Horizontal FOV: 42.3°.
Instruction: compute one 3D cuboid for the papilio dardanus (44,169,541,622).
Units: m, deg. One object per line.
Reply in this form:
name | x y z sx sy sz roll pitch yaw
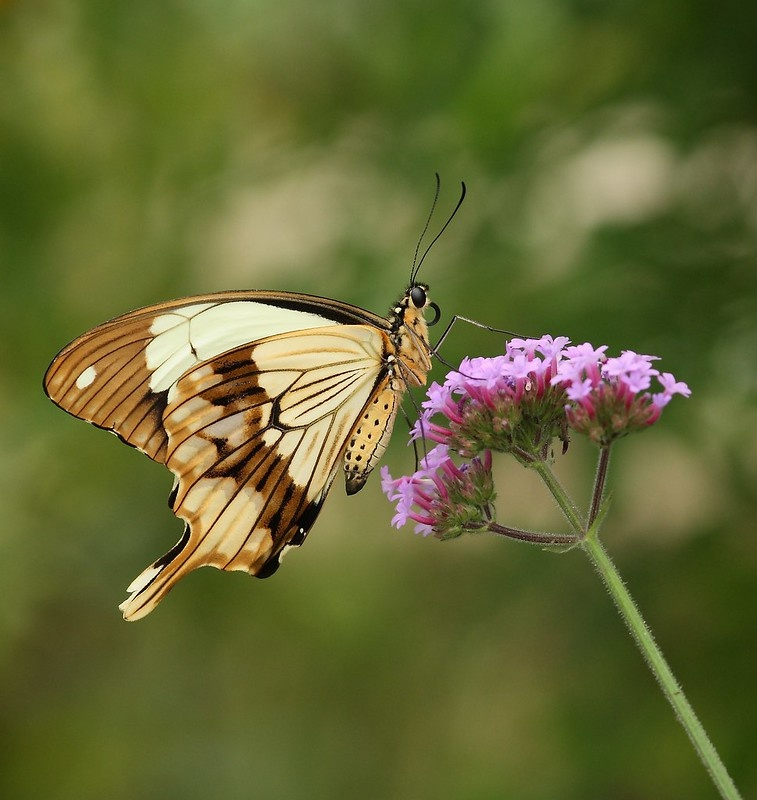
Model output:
papilio dardanus | -0.741 0.196 5.324 1.922 1.594 1.202 8 -48 1
